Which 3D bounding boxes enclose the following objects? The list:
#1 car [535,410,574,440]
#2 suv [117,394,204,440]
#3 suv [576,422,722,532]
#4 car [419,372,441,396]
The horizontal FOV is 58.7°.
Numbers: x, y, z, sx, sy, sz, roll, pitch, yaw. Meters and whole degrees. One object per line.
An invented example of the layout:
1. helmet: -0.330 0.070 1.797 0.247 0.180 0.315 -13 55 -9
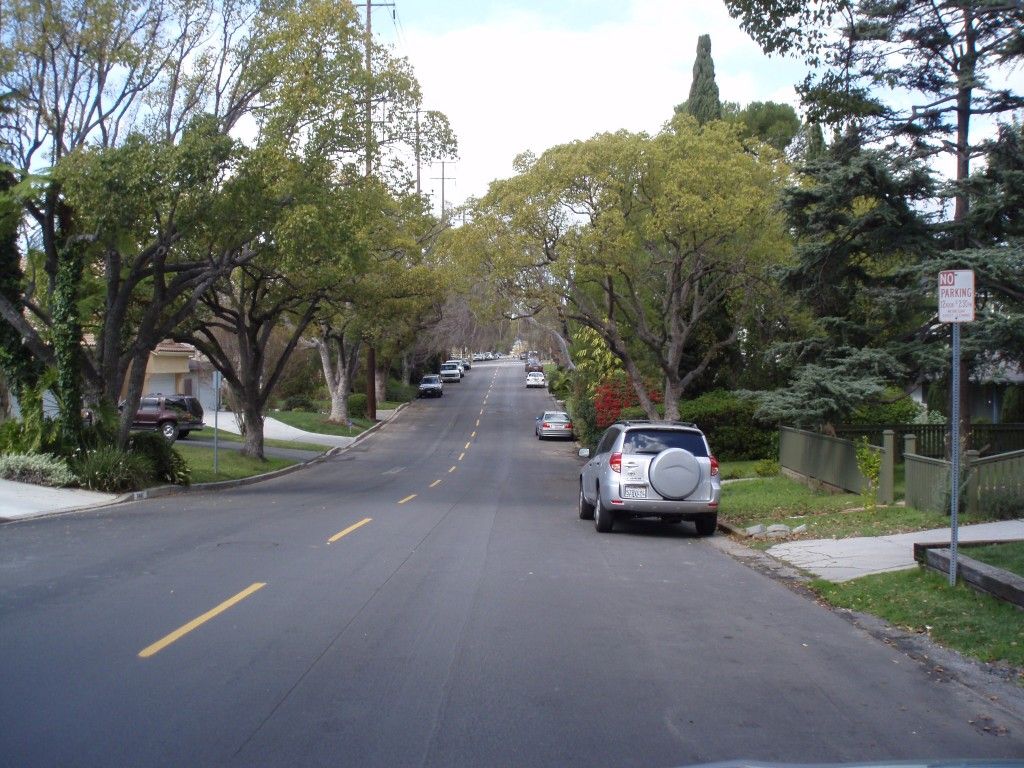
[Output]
1. car: 2.517 2.438 54.460 2.190 1.585 2.081 0 -2 12
2. suv: -14.890 1.363 38.354 2.987 1.775 1.680 5 -2 -3
3. suv: 2.576 1.784 18.451 1.438 1.484 3.031 1 1 -3
4. car: -7.622 0.192 84.508 1.208 1.525 2.421 -1 -6 -2
